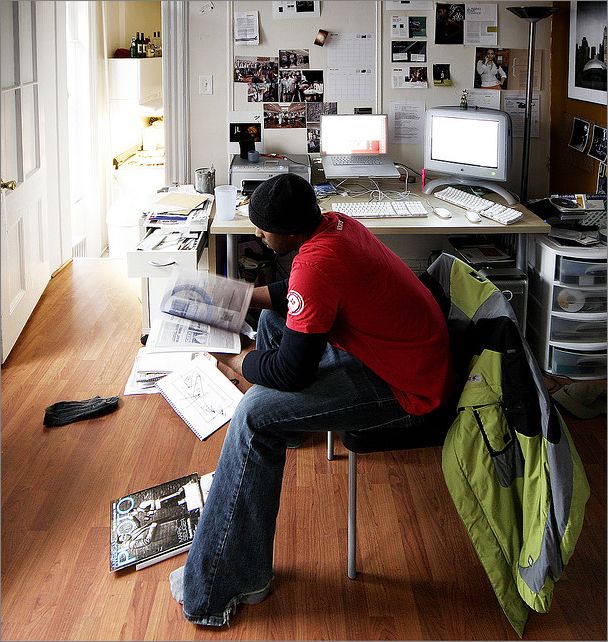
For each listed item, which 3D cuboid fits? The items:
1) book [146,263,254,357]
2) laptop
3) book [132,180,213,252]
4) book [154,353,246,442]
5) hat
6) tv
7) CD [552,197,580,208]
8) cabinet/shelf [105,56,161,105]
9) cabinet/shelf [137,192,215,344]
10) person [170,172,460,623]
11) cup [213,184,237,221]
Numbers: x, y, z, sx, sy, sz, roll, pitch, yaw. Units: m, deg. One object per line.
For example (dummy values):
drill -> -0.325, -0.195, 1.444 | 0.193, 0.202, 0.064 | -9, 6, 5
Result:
book -> -0.265, -0.010, 1.289 | 0.217, 0.276, 0.088 | 10, 4, -21
laptop -> 0.307, -1.066, 2.843 | 0.437, 0.335, 0.406 | -2, 37, -2
book -> -0.673, -0.535, 2.665 | 0.251, 0.169, 0.523 | 0, 29, 1
book -> -0.434, 0.322, 2.154 | 0.256, 0.045, 0.368 | -22, 54, -36
hat -> -0.040, -0.244, 1.085 | 0.138, 0.106, 0.108 | 23, 39, 34
tv -> 0.906, -0.924, 2.760 | 0.451, 0.496, 0.248 | 22, 42, 37
CD -> 1.286, -0.587, 2.460 | 0.126, 0.049, 0.082 | 8, 18, 24
cabinet/shelf -> -1.730, -2.590, 5.283 | 0.331, 0.528, 0.826 | 4, 16, 13
cabinet/shelf -> -0.718, -0.242, 2.761 | 0.285, 0.695, 0.729 | 4, 22, -8
person -> 0.017, 0.024, 1.514 | 0.729, 1.295, 0.858 | 2, 22, 6
cup -> -0.377, -0.586, 2.494 | 0.129, 0.178, 0.143 | 9, 21, 17
